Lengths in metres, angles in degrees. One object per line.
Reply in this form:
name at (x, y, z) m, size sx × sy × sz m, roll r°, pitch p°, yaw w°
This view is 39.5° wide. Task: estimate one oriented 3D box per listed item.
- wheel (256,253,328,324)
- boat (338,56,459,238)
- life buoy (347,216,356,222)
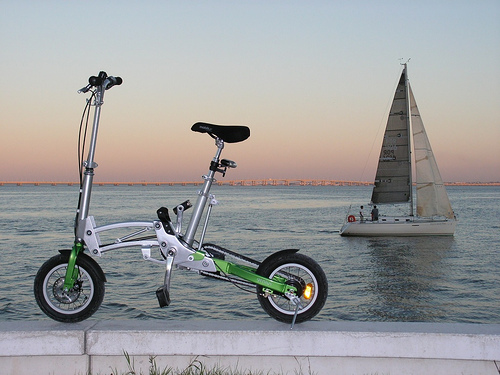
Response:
wheel at (0.721, 1.587, 11.755) m, size 1.382 × 1.224 × 1.045 m, roll 3°, pitch 2°, yaw 8°
boat at (9.886, -0.482, 44.703) m, size 4.230 × 12.270 × 10.496 m, roll 5°, pitch 6°, yaw 39°
life buoy at (6.696, 2.081, 46.191) m, size 0.442 × 0.373 × 0.133 m, roll 0°, pitch -11°, yaw 0°
